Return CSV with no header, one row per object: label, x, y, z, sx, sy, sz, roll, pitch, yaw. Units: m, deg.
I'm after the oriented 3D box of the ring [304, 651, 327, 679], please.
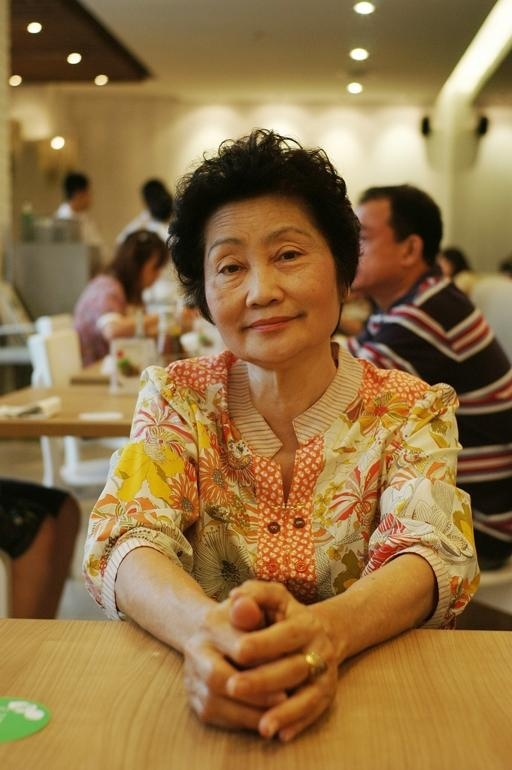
ring,0.053,0.244,0.601,0.004,0.016,0.017,-41,42,-8
